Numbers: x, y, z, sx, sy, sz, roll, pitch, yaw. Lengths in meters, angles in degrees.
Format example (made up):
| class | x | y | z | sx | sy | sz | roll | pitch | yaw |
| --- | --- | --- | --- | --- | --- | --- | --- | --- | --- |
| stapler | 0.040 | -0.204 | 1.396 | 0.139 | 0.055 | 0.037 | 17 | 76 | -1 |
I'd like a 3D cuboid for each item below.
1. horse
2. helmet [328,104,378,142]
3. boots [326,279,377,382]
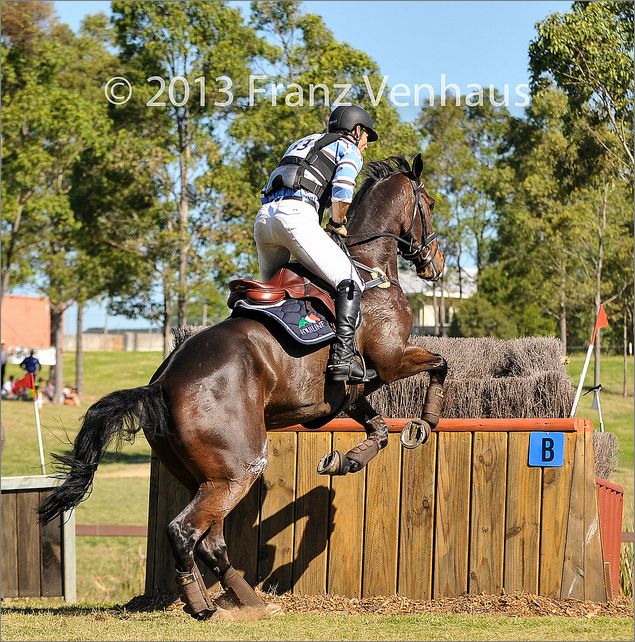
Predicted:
| class | x | y | z | sx | sy | sz | roll | pitch | yaw |
| --- | --- | --- | --- | --- | --- | --- | --- | --- | --- |
| horse | -0.434 | 0.743 | 14.235 | 2.162 | 4.080 | 7.107 | 2 | 5 | 16 |
| helmet | 0.373 | -2.072 | 14.457 | 0.405 | 0.286 | 0.305 | 11 | -1 | -16 |
| boots | 0.359 | 0.103 | 14.022 | 0.526 | 1.044 | 0.258 | 5 | -5 | -40 |
